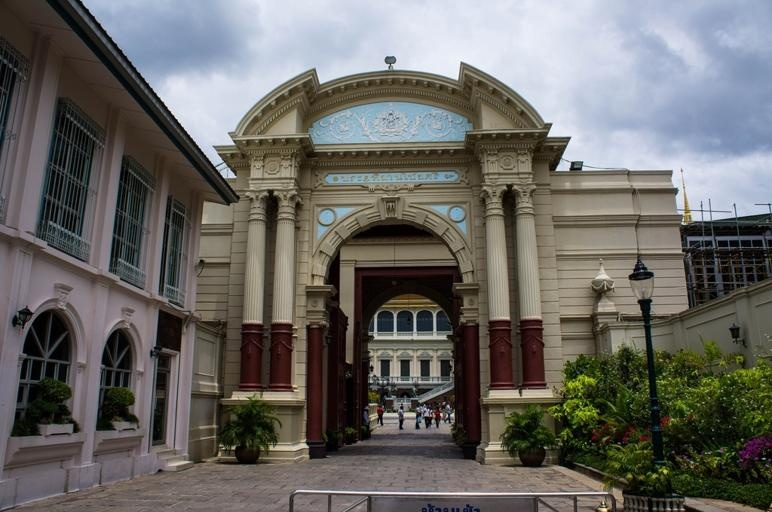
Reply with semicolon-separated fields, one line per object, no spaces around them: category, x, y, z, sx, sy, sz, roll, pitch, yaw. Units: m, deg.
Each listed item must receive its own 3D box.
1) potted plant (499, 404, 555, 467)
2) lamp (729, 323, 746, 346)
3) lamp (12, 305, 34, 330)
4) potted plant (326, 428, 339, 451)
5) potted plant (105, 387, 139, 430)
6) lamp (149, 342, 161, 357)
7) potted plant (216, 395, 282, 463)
potted plant;4.517;5.583;18.889;1.843;1.864;1.781;4;-14;-18
lamp;9.518;2.161;16.155;0.312;0.569;0.600;-10;-19;27
lamp;-7.312;1.198;12.042;0.376;0.529;0.402;-5;-9;14
potted plant;-1.979;6.904;22.401;0.690;0.755;0.599;1;-10;-11
potted plant;-6.575;3.792;14.863;0.632;0.937;0.939;-5;-17;13
lamp;-6.310;2.597;16.511;0.169;0.376;0.448;-3;-17;7
potted plant;-4.356;5.425;18.808;1.839;1.974;1.629;8;-14;-29
